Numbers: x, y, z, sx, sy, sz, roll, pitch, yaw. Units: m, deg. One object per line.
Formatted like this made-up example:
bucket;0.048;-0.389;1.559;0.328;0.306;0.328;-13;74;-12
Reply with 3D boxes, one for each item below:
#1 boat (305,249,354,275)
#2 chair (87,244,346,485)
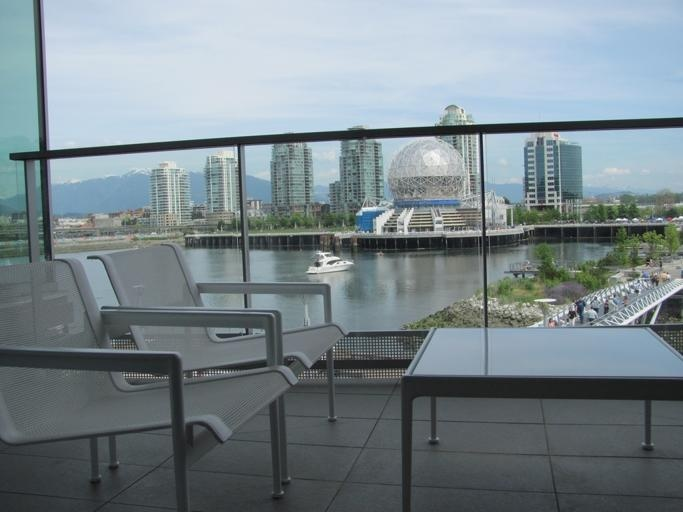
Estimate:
boat;-0.333;0.179;16.234;0.467;0.476;1.389;5;10;30
chair;-0.403;0.376;2.916;0.932;0.858;0.794;0;5;17
